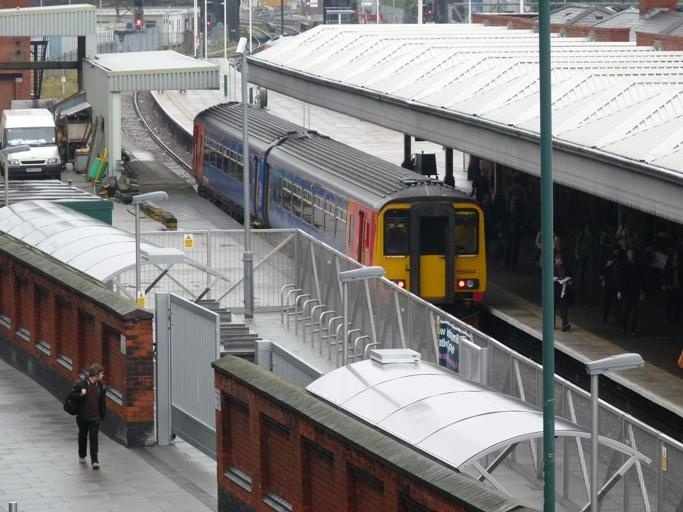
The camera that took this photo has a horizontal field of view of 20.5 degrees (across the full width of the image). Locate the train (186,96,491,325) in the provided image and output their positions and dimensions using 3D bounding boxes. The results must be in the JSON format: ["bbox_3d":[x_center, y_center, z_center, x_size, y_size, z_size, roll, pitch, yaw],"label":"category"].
[{"bbox_3d":[0.443,0.503,50.077,7.569,5.954,8.939,-5,14,-17],"label":"train"}]

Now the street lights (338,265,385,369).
[{"bbox_3d":[0.418,1.195,39.621,0.814,2.416,0.769,-1,9,1],"label":"street lights"}]

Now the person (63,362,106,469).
[{"bbox_3d":[-4.988,3.231,37.463,0.861,2.107,0.840,-1,13,-23],"label":"person"}]
